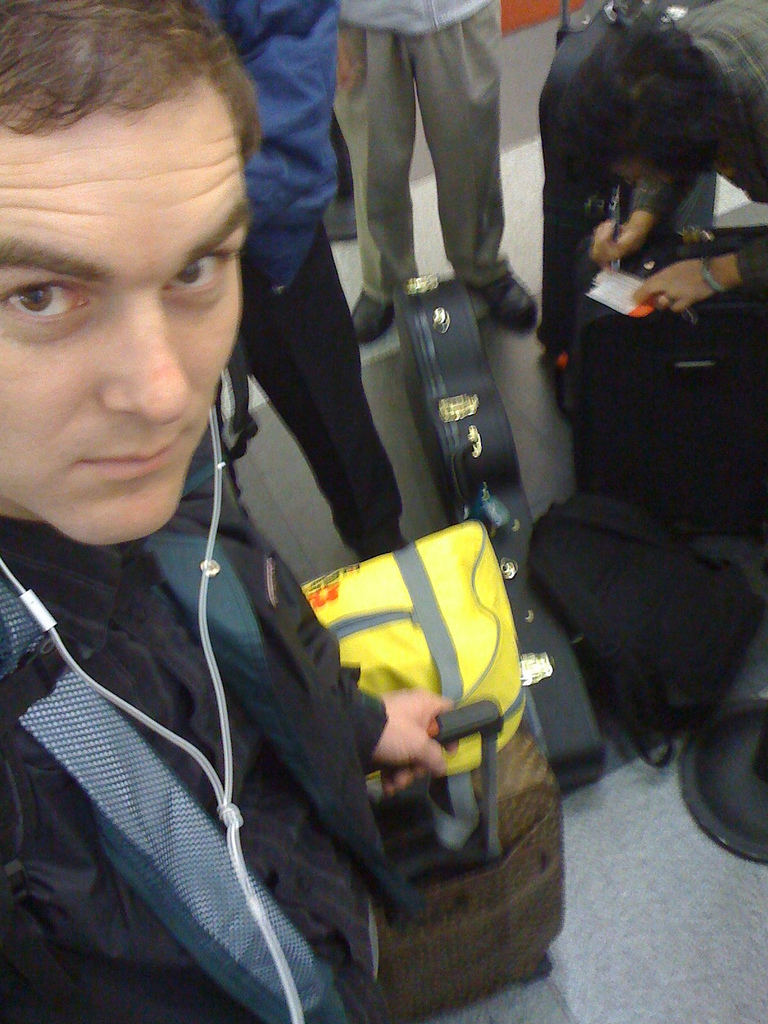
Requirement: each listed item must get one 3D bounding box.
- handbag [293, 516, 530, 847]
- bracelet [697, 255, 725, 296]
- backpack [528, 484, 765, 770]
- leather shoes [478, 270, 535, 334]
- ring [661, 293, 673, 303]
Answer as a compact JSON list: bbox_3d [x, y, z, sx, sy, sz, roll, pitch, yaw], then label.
[{"bbox_3d":[0.075,0.281,1.344,0.401,0.194,0.556,-38,22,16],"label":"handbag"},{"bbox_3d":[0.443,-0.319,1.124,0.014,0.041,0.035,-13,17,-10],"label":"bracelet"},{"bbox_3d":[0.511,0.199,1.693,0.480,0.161,0.388,35,92,6],"label":"backpack"},{"bbox_3d":[0.248,-0.418,1.669,0.041,0.130,0.079,3,61,32],"label":"leather shoes"},{"bbox_3d":[0.401,-0.304,1.180,0.010,0.014,0.005,-1,3,-2],"label":"ring"}]
